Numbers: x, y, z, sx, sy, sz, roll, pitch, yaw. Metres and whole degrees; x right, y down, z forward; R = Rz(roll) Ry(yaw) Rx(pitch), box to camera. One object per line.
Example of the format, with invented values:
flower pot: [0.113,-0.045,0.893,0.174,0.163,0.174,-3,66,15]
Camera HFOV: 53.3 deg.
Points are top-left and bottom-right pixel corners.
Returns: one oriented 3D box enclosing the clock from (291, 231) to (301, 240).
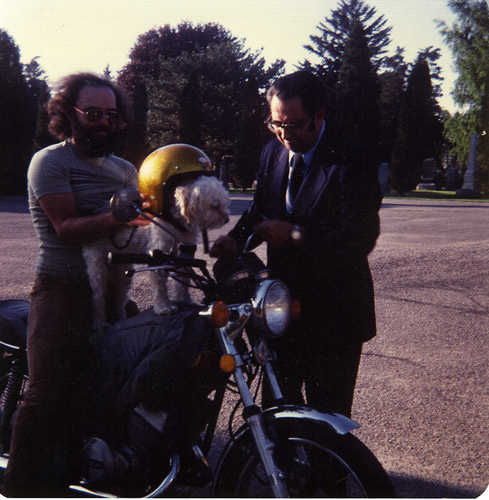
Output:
clock: [0.195,-0.057,1.857,0.024,0.024,0.028,-2,-3,40]

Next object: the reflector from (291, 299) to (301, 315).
reflector: [0.192,0.214,1.825,0.008,0.051,0.045,-3,-5,-8]

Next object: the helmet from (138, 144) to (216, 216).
helmet: [-0.310,-0.281,1.884,0.258,0.295,0.233,4,9,17]

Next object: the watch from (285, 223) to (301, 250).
watch: [0.194,-0.048,1.917,0.058,0.108,0.088,24,-4,7]

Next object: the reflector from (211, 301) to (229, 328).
reflector: [-0.081,0.208,1.592,0.060,0.080,0.036,-1,8,-9]

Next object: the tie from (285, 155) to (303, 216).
tie: [0.234,-0.313,2.300,0.042,0.326,0.071,3,-8,7]
